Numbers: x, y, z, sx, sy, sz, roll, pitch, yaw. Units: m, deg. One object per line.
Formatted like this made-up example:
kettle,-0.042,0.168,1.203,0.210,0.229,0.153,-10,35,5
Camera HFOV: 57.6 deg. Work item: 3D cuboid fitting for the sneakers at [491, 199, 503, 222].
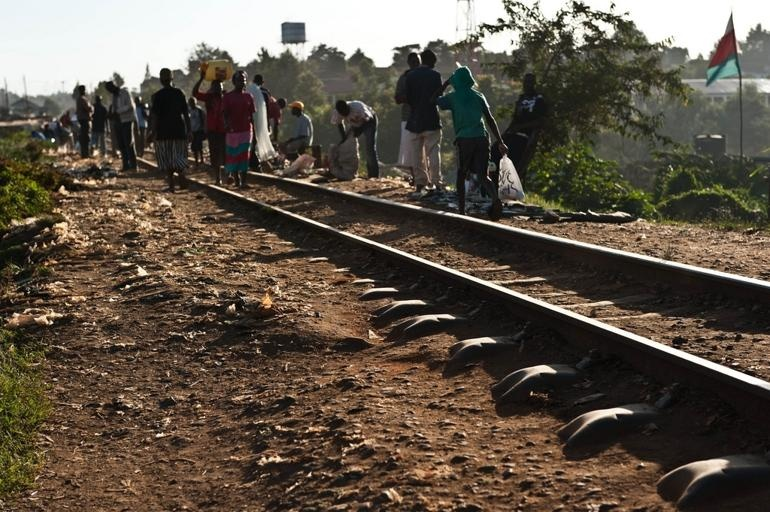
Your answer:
sneakers,1.647,-0.679,10.345,0.164,0.302,0.124,-1,10,9

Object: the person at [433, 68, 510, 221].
person,1.324,-1.775,10.722,1.045,2.344,1.264,0,7,6
